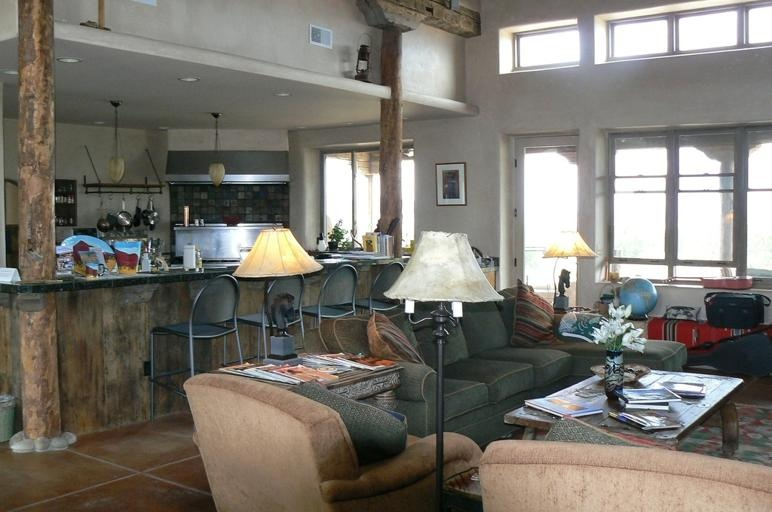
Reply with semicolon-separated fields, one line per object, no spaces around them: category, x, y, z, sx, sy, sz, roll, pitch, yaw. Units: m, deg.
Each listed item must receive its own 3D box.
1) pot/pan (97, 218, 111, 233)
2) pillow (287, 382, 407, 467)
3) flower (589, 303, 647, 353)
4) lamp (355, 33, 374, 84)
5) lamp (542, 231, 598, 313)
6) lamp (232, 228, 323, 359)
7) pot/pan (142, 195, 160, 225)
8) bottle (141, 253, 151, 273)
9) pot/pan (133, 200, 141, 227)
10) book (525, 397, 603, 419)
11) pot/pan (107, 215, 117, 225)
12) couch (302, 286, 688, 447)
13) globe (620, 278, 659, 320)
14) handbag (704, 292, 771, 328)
pot/pan;-4.689;-0.509;10.062;0.218;0.191;0.280;6;-18;-21
pillow;-0.142;0.900;3.201;0.470;0.191;0.449;16;-4;-20
flower;1.763;0.551;4.574;0.310;0.387;0.357;3;4;34
lamp;-0.290;-2.562;7.777;0.184;0.710;0.399;2;4;7
lamp;2.077;0.059;7.178;0.749;0.632;0.704;0;0;1
lamp;-0.878;0.261;4.729;0.629;0.948;1.149;0;4;-24
pot/pan;-4.099;-0.758;10.523;0.249;0.564;1.127;0;3;-22
bottle;-2.349;0.060;5.931;0.085;0.168;0.257;0;3;-23
pot/pan;-4.406;-0.769;10.739;0.141;0.510;0.779;0;3;-23
book;1.275;1.061;4.242;0.417;0.063;0.400;-2;4;-43
pot/pan;-4.681;-0.614;10.369;0.195;0.203;0.176;-5;10;-20
couch;0.650;1.009;5.409;1.572;0.806;2.440;-2;-1;38
globe;3.363;0.568;8.066;0.512;0.516;0.493;0;1;25
handbag;4.187;0.665;7.276;0.603;0.407;0.250;3;4;25
